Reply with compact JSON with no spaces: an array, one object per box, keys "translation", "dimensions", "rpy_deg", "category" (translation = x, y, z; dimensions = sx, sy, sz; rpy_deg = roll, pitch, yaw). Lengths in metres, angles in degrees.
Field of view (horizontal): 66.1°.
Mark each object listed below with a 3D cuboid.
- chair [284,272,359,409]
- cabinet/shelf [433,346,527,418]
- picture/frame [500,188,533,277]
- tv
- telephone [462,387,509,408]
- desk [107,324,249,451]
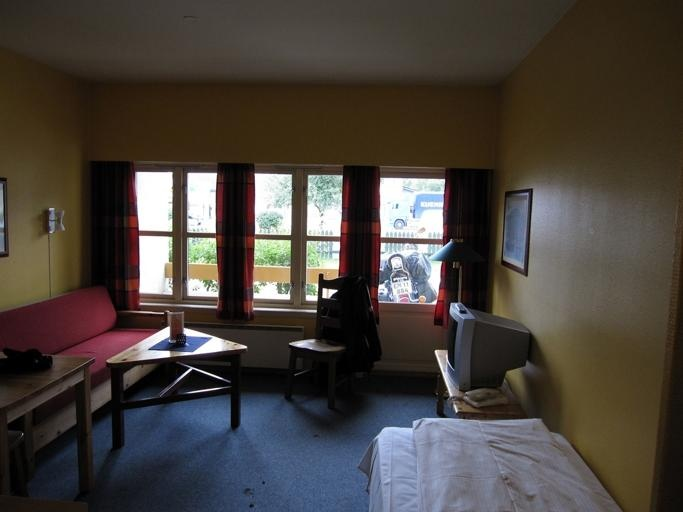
[{"translation":[-0.222,0.765,5.005],"dimensions":[0.628,1.129,0.735],"rpy_deg":[4,14,11],"category":"chair"},{"translation":[1.094,0.834,4.097],"dimensions":[0.475,0.632,0.938],"rpy_deg":[0,6,2],"category":"cabinet/shelf"},{"translation":[1.489,-0.233,4.498],"dimensions":[0.020,0.675,0.627],"rpy_deg":[5,3,38],"category":"picture/frame"},{"translation":[1.151,0.725,4.212],"dimensions":[0.589,0.689,0.543],"rpy_deg":[0,4,2],"category":"tv"},{"translation":[1.095,1.065,3.943],"dimensions":[0.247,0.065,0.158],"rpy_deg":[0,4,-17],"category":"telephone"},{"translation":[-1.275,1.037,4.651],"dimensions":[1.109,0.652,1.152],"rpy_deg":[-2,6,7],"category":"desk"}]
